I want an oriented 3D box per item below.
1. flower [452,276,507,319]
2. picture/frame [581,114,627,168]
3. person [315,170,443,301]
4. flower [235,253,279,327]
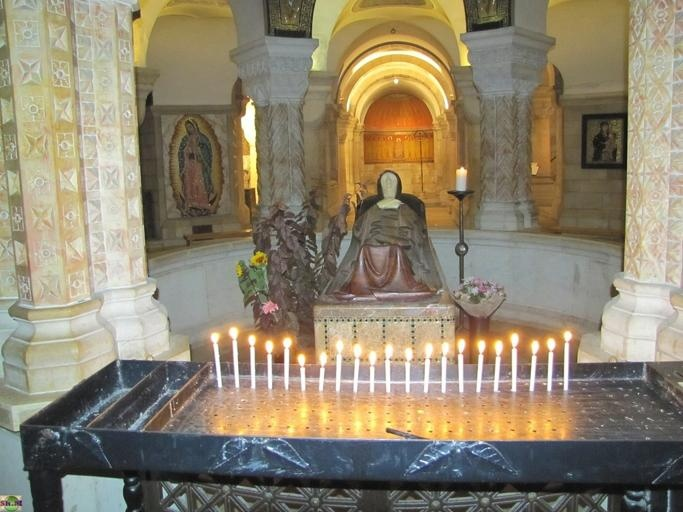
[{"bbox_3d":[1.352,0.407,5.580,0.490,0.385,0.301,0,6,13],"label":"flower"},{"bbox_3d":[4.781,-2.113,10.356,0.726,1.029,0.436,1,7,21],"label":"picture/frame"},{"bbox_3d":[0.366,-0.228,5.037,1.070,1.076,1.035,-1,6,5],"label":"person"},{"bbox_3d":[-0.837,0.331,5.574,0.251,0.756,0.630,-6,8,-34],"label":"flower"}]
